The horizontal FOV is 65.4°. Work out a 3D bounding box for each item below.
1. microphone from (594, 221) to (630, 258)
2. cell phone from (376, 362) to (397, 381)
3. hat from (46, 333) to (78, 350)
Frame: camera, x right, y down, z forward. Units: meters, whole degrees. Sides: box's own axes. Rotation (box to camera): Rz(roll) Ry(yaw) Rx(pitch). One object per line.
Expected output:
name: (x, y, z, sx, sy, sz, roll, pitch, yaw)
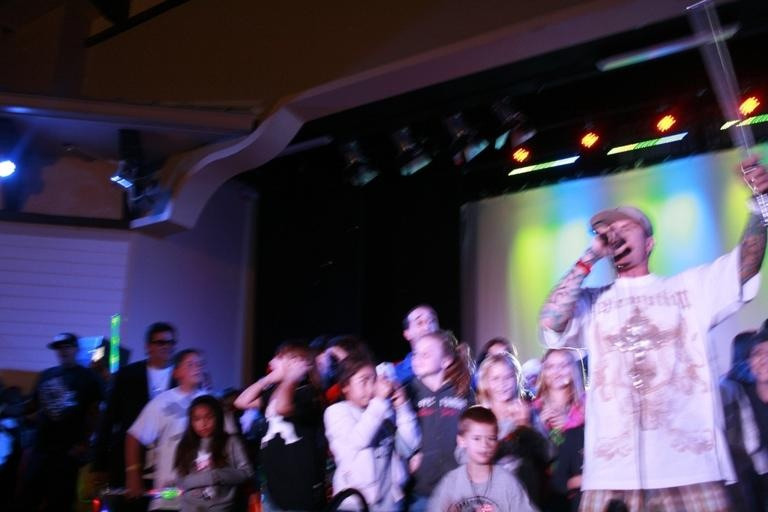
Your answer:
microphone: (1.428, -0.111, 3.779, 0.149, 0.253, 0.070, -40, -2, 4)
cell phone: (0.018, 0.753, 3.922, 0.105, 0.095, 0.038, -5, -7, 17)
hat: (-2.317, 0.611, 4.310, 0.174, 0.082, 0.118, 6, -10, -15)
